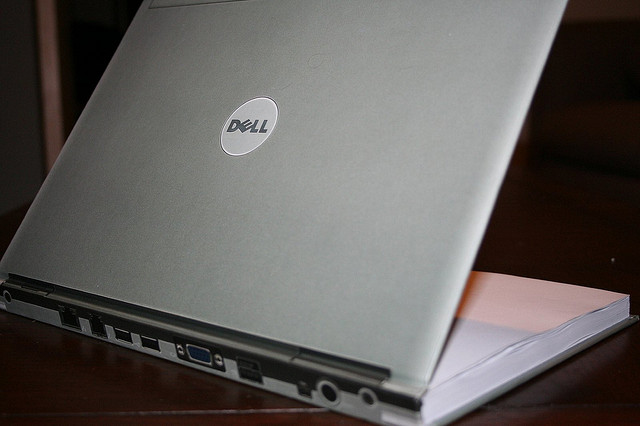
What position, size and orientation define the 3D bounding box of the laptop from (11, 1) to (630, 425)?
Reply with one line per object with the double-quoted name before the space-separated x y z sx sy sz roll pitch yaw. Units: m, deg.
"laptop" 0.019 0.001 0.862 0.626 0.446 0.462 9 16 34
